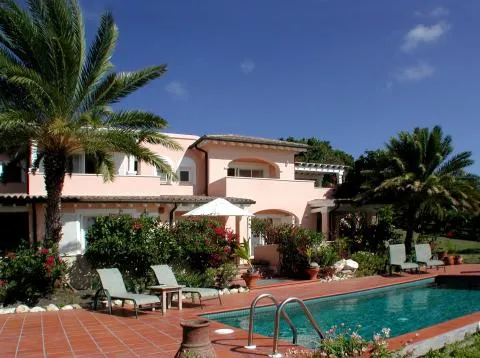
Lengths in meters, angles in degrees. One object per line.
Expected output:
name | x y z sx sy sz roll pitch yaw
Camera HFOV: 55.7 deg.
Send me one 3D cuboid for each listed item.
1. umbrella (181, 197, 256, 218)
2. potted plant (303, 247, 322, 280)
umbrella | -1.095 1.473 22.589 2.862 0.906 1.343 1 -8 -12
potted plant | 3.640 4.376 23.270 0.806 1.492 0.813 1 -3 32
